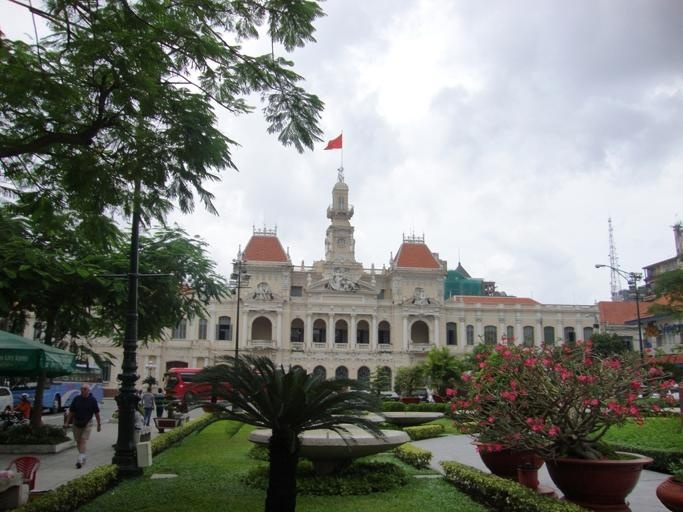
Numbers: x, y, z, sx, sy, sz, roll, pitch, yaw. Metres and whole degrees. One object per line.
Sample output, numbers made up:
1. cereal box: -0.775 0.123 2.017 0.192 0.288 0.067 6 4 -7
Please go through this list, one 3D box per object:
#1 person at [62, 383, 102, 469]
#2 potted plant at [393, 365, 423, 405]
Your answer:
1. person: -7.409 4.832 17.622 0.856 2.199 1.123 5 -13 -29
2. potted plant: 4.648 9.680 45.648 2.890 2.909 2.470 1 0 31
